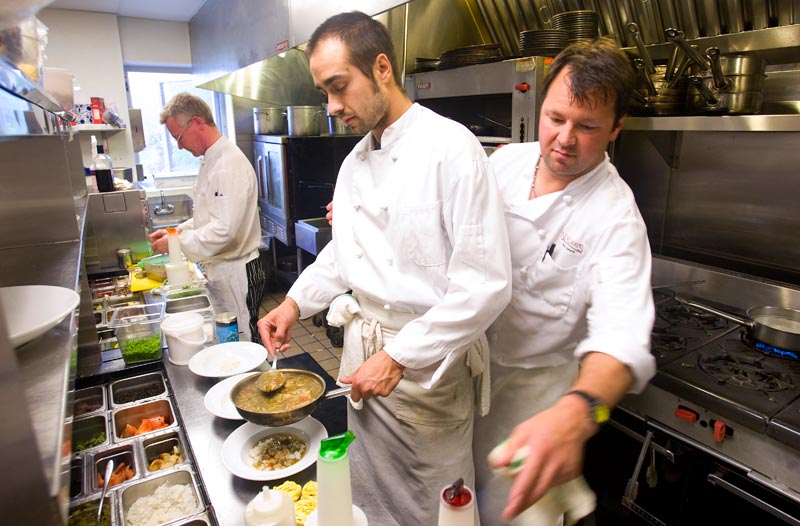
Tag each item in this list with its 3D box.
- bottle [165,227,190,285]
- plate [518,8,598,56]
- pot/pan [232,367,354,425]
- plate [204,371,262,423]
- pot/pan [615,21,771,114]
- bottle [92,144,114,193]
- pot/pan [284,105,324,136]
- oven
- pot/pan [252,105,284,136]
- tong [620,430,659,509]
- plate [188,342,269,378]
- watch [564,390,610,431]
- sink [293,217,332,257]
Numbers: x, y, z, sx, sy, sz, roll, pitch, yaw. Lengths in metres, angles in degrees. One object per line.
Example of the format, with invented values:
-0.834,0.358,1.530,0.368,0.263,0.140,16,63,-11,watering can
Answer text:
-1.465,-0.034,3.263,0.133,0.363,0.216,-12,17,-22,bottle
0.828,-1.201,2.650,0.399,0.163,0.248,-13,21,-30,plate
-0.417,0.481,1.890,0.391,0.077,0.214,-5,11,-32,pot/pan
-0.692,0.553,2.101,0.231,0.030,0.219,-1,23,-8,plate
1.440,-0.860,2.436,0.487,0.343,0.750,5,4,34,pot/pan
-2.306,-0.698,3.905,0.130,0.271,0.388,-13,18,-28,bottle
-0.977,-1.487,5.293,0.433,0.277,0.309,2,16,-1,pot/pan
0.392,-0.934,2.944,0.568,0.612,0.899,-9,21,-26,oven
-1.528,-1.670,5.861,0.391,0.267,0.335,-1,30,-4,pot/pan
1.070,0.935,2.275,0.028,0.346,0.078,18,0,3,tong
-0.794,0.449,2.331,0.202,0.026,0.195,-1,19,-9,plate
0.522,0.409,1.448,0.113,0.039,0.087,36,12,24,watch
-0.723,-0.262,4.660,0.519,0.227,0.485,-5,21,-16,sink
